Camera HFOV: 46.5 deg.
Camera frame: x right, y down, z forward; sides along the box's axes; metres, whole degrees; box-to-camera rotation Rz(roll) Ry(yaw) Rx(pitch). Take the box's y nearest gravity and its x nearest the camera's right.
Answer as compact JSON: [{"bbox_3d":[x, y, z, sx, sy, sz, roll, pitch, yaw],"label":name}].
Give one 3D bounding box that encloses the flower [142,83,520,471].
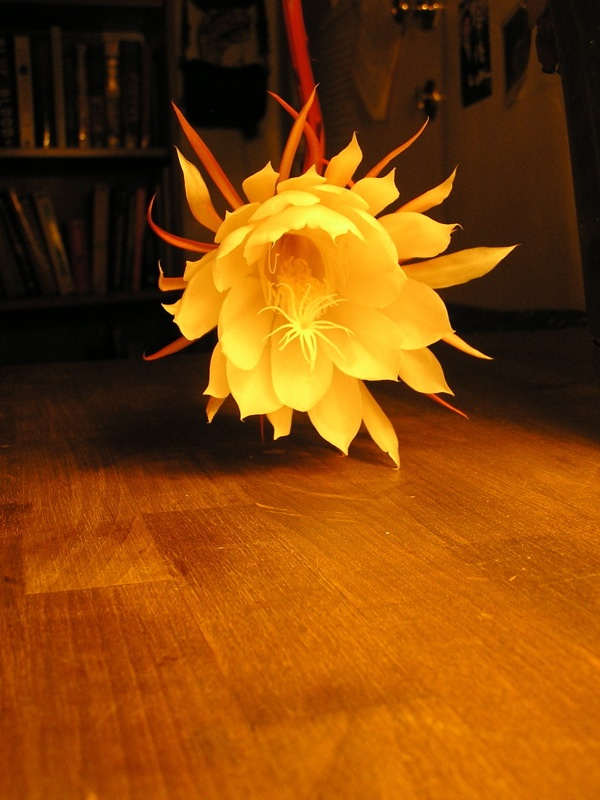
[{"bbox_3d":[0.010,-0.064,0.377,0.171,0.186,0.164,-2,8,-4],"label":"flower"}]
